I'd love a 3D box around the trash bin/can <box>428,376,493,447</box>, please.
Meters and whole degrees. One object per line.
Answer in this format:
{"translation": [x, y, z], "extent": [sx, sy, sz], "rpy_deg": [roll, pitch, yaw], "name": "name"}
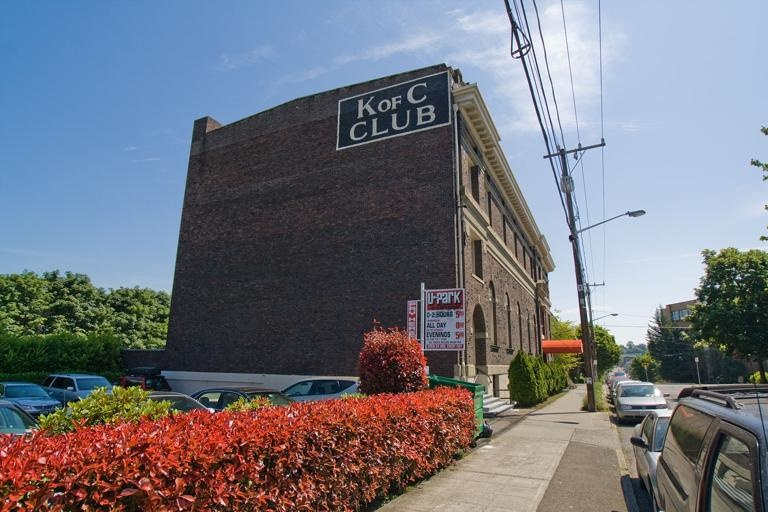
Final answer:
{"translation": [2.256, 4.738, 16.216], "extent": [2.088, 2.433, 2.072], "rpy_deg": [-9, -15, 26], "name": "trash bin/can"}
